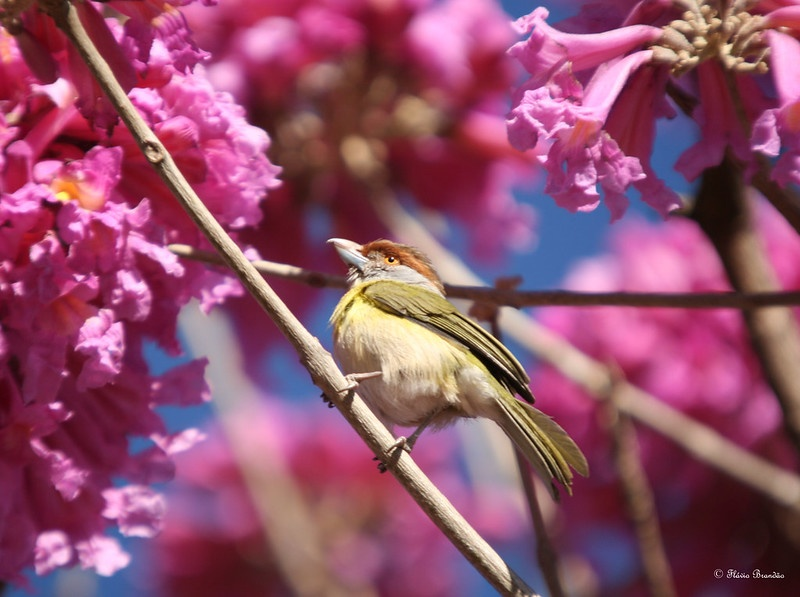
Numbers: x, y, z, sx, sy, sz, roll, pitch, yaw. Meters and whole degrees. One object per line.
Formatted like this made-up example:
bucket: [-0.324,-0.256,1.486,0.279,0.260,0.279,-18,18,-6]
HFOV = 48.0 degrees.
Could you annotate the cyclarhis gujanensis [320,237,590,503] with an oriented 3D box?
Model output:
cyclarhis gujanensis: [0.070,0.079,1.357,0.417,0.170,0.312,12,66,8]
